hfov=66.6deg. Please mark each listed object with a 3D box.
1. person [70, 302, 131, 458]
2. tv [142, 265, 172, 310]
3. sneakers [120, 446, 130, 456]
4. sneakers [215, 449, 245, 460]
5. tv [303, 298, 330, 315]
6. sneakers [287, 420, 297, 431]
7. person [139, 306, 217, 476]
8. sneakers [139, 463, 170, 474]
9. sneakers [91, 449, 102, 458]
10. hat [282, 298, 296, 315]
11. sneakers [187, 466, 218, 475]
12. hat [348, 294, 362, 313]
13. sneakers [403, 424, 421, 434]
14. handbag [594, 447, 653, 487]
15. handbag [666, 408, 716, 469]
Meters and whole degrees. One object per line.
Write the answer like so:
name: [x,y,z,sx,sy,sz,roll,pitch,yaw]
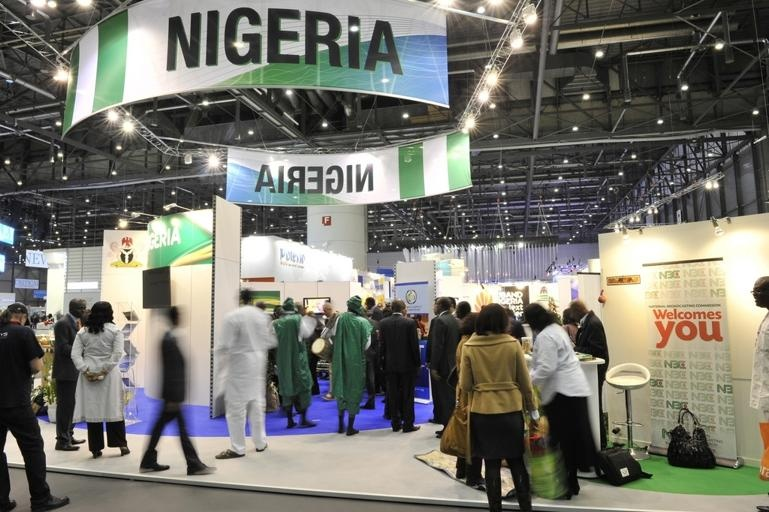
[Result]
person: [-3.890,1.698,8.037,0.682,2.119,0.447,-2,7,-15]
tv: [-4.286,0.621,10.767,0.310,0.725,0.845,-4,-3,17]
sneakers: [-3.574,2.683,8.066,0.062,0.079,0.203,1,-4,9]
sneakers: [-2.077,2.675,7.980,0.391,0.157,0.133,6,-11,-3]
tv: [-1.439,1.078,12.389,0.482,0.345,0.051,1,-8,0]
sneakers: [-1.447,2.666,9.253,0.073,0.125,0.176,2,2,20]
person: [-2.684,1.716,7.469,0.928,2.100,0.492,2,8,20]
sneakers: [-2.948,2.725,7.600,0.388,0.155,0.132,3,-6,-13]
sneakers: [-3.910,2.706,7.998,0.074,0.128,0.123,-9,-15,34]
hat: [-1.544,0.818,9.471,0.182,0.258,0.099,31,-21,-20]
sneakers: [-2.327,2.713,7.513,0.338,0.143,0.122,0,-7,-9]
hat: [-0.485,0.768,9.349,0.224,0.253,0.250,21,-8,17]
sneakers: [0.429,2.672,9.075,0.093,0.119,0.276,3,0,42]
handbag: [2.979,2.594,7.360,0.440,0.230,0.635,2,7,-26]
handbag: [4.168,2.449,7.903,0.572,0.635,0.695,4,9,32]
